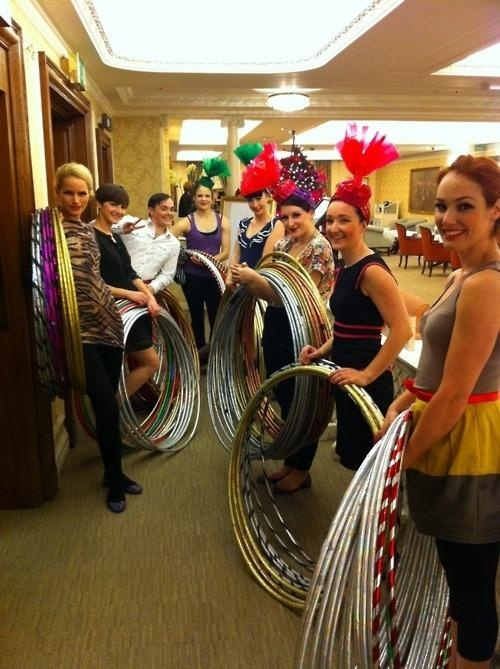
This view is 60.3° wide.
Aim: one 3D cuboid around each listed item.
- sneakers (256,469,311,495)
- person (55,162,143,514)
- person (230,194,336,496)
[{"bbox_3d":[0.186,0.766,2.293,0.279,0.102,0.154,3,4,-24],"label":"sneakers"},{"bbox_3d":[-0.708,0.029,2.078,0.337,1.654,0.373,-3,8,-25],"label":"person"},{"bbox_3d":[0.102,0.062,2.345,0.666,1.786,0.570,-6,16,-13],"label":"person"}]
